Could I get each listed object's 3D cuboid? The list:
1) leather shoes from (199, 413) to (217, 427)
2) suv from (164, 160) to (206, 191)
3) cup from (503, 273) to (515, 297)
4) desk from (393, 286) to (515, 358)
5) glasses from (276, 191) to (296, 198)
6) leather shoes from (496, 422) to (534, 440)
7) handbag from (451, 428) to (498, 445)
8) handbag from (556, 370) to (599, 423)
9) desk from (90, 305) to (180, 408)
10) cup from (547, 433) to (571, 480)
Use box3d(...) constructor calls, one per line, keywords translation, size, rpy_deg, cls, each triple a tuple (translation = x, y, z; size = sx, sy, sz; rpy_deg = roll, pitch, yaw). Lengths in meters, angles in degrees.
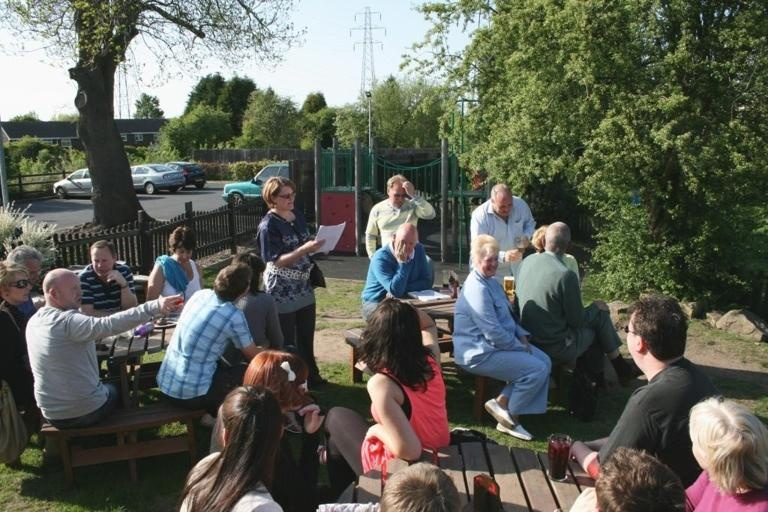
box3d(translation=(-2.152, 2.008, 8.896), size=(0.215, 0.087, 0.252), rpy_deg=(-4, 31, -3), cls="leather shoes")
box3d(translation=(-8.956, -3.742, 33.927), size=(0.965, 0.937, 1.878), rpy_deg=(-8, 17, -37), cls="suv")
box3d(translation=(1.662, 0.414, 9.679), size=(0.191, 0.337, 0.202), rpy_deg=(-1, 1, 0), cls="cup")
box3d(translation=(0.708, 0.858, 9.712), size=(0.786, 0.852, 0.837), rpy_deg=(0, 0, 27), cls="desk")
box3d(translation=(-1.233, -0.766, 9.148), size=(0.203, 0.088, 0.079), rpy_deg=(-5, 8, -14), cls="glasses")
box3d(translation=(1.587, 2.068, 8.730), size=(0.402, 0.169, 0.158), rpy_deg=(11, -2, 29), cls="leather shoes")
box3d(translation=(0.892, 1.870, 7.556), size=(0.335, 0.137, 0.205), rpy_deg=(7, 8, -7), cls="handbag")
box3d(translation=(2.438, 1.771, 9.042), size=(0.353, 0.726, 0.550), rpy_deg=(-4, 3, -36), cls="handbag")
box3d(translation=(-2.632, 1.116, 8.031), size=(0.998, 0.843, 1.210), rpy_deg=(1, 14, 11), cls="desk")
box3d(translation=(1.701, 1.925, 7.007), size=(0.218, 0.412, 0.195), rpy_deg=(-2, 8, 5), cls="cup")
